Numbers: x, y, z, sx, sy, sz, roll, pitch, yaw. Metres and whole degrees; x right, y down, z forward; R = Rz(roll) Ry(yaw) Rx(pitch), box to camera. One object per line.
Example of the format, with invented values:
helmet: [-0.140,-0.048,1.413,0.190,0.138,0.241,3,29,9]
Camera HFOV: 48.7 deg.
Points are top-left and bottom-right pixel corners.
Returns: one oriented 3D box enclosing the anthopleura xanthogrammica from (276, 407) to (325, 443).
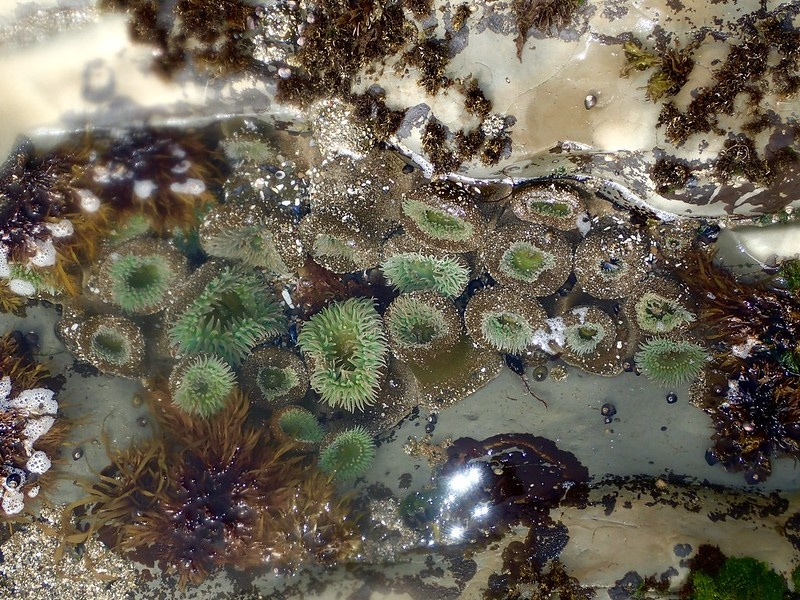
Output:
anthopleura xanthogrammica: [-1.499,1.897,13.410,0.624,0.263,0.533,2,67,-39]
